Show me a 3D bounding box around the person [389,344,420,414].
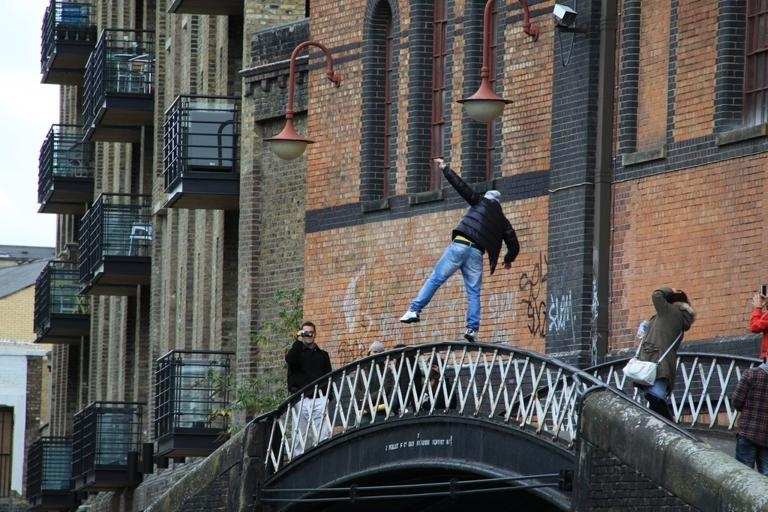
[{"bbox_3d":[0.421,2.178,42.605,0.408,1.183,0.393,-10,-10,21],"label":"person"}]

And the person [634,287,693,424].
[{"bbox_3d":[4.666,1.695,40.298,0.954,2.067,1.058,0,-2,22],"label":"person"}]

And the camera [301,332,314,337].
[{"bbox_3d":[-1.355,1.455,43.654,0.203,0.055,0.156,-1,-29,0],"label":"camera"}]
